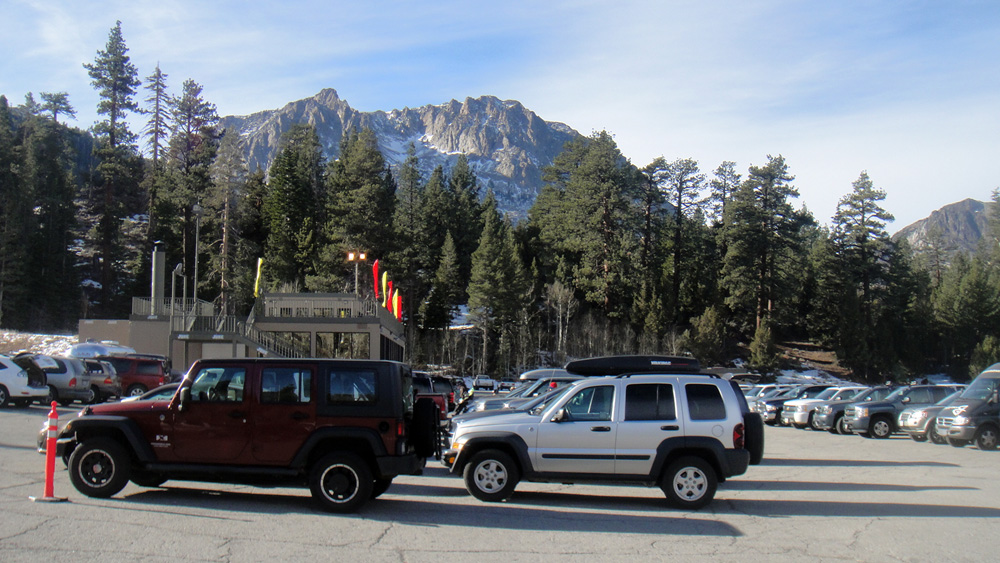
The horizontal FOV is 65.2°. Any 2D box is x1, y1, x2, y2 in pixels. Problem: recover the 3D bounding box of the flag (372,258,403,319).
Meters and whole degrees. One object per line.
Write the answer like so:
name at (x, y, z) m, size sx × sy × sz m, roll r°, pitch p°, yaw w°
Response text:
flag at (-9.783, 0.608, 67.110) m, size 0.350 × 4.554 × 5.000 m, roll -18°, pitch 28°, yaw -15°
